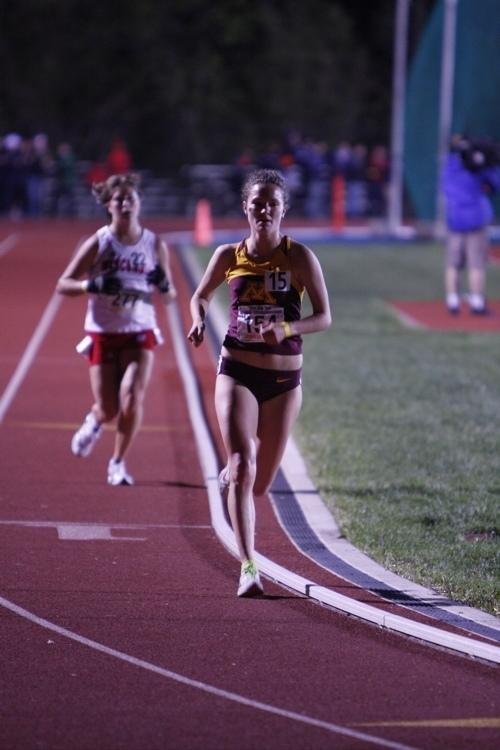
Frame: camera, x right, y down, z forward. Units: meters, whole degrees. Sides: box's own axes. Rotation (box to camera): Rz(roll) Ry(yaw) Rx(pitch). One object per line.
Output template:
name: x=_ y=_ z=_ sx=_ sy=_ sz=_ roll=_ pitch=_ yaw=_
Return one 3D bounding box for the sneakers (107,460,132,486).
sneakers: x=-0.885 y=0.674 z=5.319 sx=0.187 sy=0.179 sz=0.156 roll=8 pitch=-9 yaw=-41

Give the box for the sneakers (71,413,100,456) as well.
sneakers: x=-1.192 y=0.447 z=5.638 sx=0.166 sy=0.370 sz=0.125 roll=-7 pitch=50 yaw=-37

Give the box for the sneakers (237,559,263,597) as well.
sneakers: x=0.000 y=0.912 z=3.425 sx=0.082 sy=0.097 sz=0.217 roll=-2 pitch=-2 yaw=-3

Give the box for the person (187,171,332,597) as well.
person: x=0.047 y=0.050 z=3.622 sx=0.665 sy=1.974 sz=0.791 roll=-1 pitch=12 yaw=-3

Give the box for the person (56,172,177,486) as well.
person: x=-0.836 y=-0.224 z=4.956 sx=0.698 sy=2.060 sz=0.621 roll=-1 pitch=12 yaw=-6

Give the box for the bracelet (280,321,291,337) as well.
bracelet: x=0.162 y=-0.203 z=3.417 sx=0.024 sy=0.061 sz=0.046 roll=-7 pitch=10 yaw=17
